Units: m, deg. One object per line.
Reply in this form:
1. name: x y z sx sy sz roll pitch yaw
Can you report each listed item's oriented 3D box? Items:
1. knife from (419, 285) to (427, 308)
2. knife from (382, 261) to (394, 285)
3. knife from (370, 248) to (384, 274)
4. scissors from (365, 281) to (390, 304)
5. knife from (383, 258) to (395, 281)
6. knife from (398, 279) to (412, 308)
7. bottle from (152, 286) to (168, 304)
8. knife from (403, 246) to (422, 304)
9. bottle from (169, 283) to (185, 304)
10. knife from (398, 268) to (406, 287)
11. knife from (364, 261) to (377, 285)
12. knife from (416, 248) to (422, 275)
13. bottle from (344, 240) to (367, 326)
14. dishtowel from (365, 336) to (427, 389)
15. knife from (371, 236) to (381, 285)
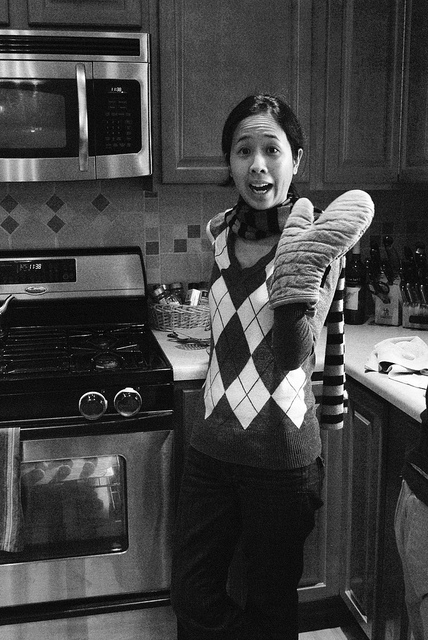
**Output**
1. knife: 0.653 -0.073 1.689 0.013 0.071 0.009 -16 12 -42
2. knife: 0.557 -0.149 1.741 0.021 0.096 0.022 -3 23 32
3. knife: 0.530 -0.194 1.765 0.023 0.096 0.032 -7 10 27
4. scissors: 0.532 -0.101 1.811 0.062 0.075 0.124 -2 13 -11
5. knife: 0.565 -0.161 1.754 0.017 0.071 0.014 -19 13 41
6. knife: 0.605 -0.087 1.726 0.023 0.087 0.051 -4 12 -22
7. bottle: -0.179 -0.084 1.801 0.044 0.058 0.045 -7 6 1
8. knife: 0.631 -0.145 1.723 0.061 0.165 0.072 5 12 21
9. bottle: -0.128 -0.089 1.831 0.040 0.073 0.040 -17 3 1
10. knife: 0.595 -0.138 1.710 0.012 0.048 0.030 -2 10 -1
11. knife: 0.507 -0.164 1.783 0.018 0.090 0.022 -24 -3 -43
12. knife: 0.653 -0.188 1.731 0.011 0.080 0.018 2 -7 7
13. bottle: 0.467 -0.116 1.794 0.080 0.263 0.086 1 11 0
14. dishtowel: 0.405 0.101 1.202 0.135 0.055 0.228 5 15 17
15. knife: 0.532 -0.190 1.786 0.034 0.022 0.212 -6 46 20
